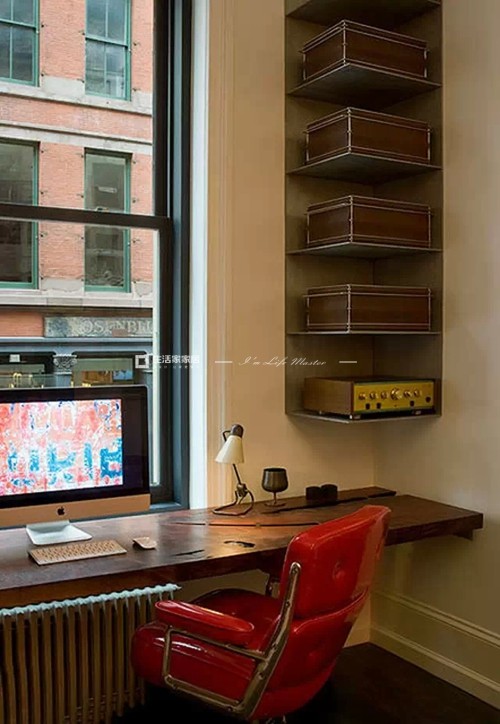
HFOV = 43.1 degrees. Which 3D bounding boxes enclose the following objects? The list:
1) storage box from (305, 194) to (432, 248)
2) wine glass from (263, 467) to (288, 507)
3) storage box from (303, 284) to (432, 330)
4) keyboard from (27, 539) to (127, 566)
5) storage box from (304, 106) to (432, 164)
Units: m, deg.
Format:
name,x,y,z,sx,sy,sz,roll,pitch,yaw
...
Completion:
name,x,y,z,sx,sy,sz,roll,pitch,yaw
storage box,0.481,-0.540,2.506,0.297,0.130,0.292,0,2,-24
wine glass,0.092,0.483,2.471,0.139,0.195,0.135,0,-10,-1
storage box,0.463,-0.207,2.498,0.494,0.187,0.322,1,-1,13
keyboard,-0.501,0.541,1.824,0.255,0.013,0.199,1,-1,-33
storage box,0.469,-0.871,2.469,0.490,0.188,0.238,1,-1,4
